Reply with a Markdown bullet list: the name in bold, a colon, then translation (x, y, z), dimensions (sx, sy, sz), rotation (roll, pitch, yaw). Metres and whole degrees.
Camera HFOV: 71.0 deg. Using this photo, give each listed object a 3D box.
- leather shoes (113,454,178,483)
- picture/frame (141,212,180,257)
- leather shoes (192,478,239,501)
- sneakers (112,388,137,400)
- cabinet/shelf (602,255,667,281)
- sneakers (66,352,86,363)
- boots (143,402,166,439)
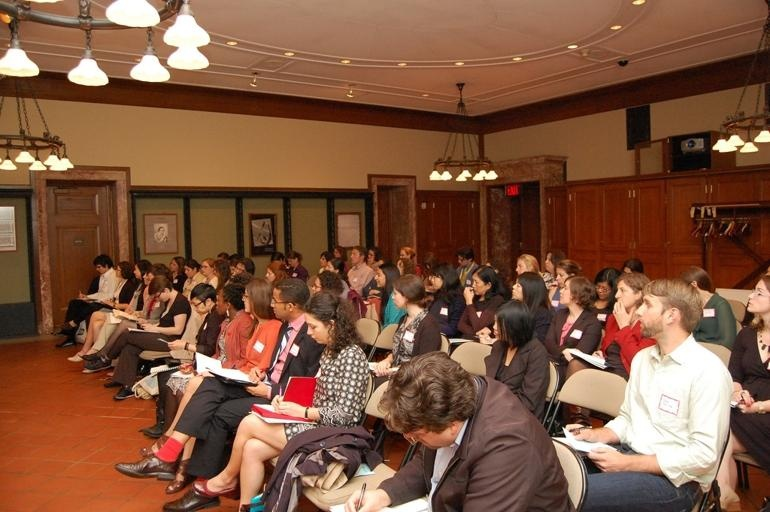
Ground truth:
- **leather shoes**: translation (-2.209, 1.997, 5.144), dimensions (0.619, 0.236, 0.254), rotation (8, -10, -6)
- **picture/frame**: translation (-4.695, -0.439, 11.171), dimensions (0.908, 1.228, 0.079), rotation (0, -4, -37)
- **leather shoes**: translation (-1.478, 2.033, 4.702), dimensions (0.368, 0.102, 0.172), rotation (7, -2, -12)
- **sneakers**: translation (-3.398, 1.798, 7.039), dimensions (0.107, 0.123, 0.308), rotation (-4, -10, 16)
- **cabinet/shelf**: translation (4.102, 0.180, 8.706), dimensions (0.424, 0.477, 0.483), rotation (1, 5, -3)
- **sneakers**: translation (-4.940, 1.608, 8.612), dimensions (0.154, 0.173, 0.420), rotation (18, -8, -41)
- **boots**: translation (-2.554, 1.839, 6.048), dimensions (0.198, 0.342, 0.467), rotation (-4, -12, 13)
